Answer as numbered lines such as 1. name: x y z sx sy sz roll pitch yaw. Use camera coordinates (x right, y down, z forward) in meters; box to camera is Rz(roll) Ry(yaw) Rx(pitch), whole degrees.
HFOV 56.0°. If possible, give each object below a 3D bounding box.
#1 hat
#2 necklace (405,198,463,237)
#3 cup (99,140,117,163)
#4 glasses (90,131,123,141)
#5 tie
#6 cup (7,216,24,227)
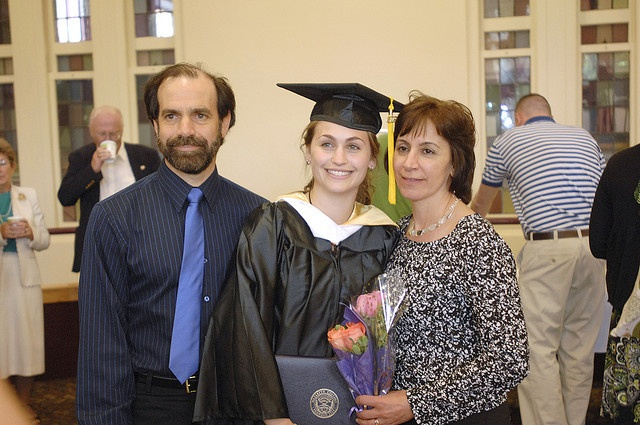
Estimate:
1. hat: 0.138 -0.399 3.166 0.634 0.187 0.636 14 -13 -20
2. necklace: 0.562 0.046 2.984 0.032 0.215 0.183 40 2 -21
3. cup: -1.613 -0.477 4.667 0.150 0.147 0.151 -10 -10 -2
4. glasses: -1.670 -0.596 4.755 0.110 0.086 0.112 -3 5 1
5. tie: -0.643 0.348 2.951 0.111 0.891 0.217 -2 1 23
6. cup: -2.379 0.070 4.695 0.071 0.054 0.073 3 0 0
